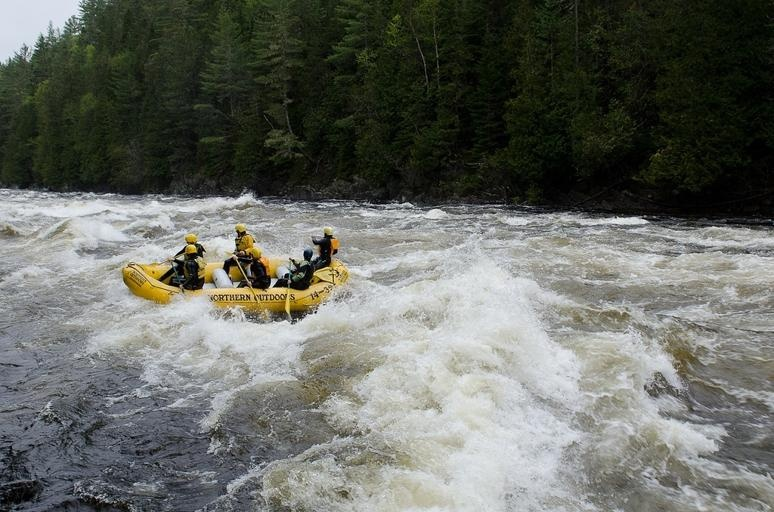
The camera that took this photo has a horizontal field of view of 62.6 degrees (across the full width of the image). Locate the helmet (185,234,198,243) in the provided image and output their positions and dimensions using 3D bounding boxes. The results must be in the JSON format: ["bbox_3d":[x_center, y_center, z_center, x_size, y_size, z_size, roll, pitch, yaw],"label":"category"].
[{"bbox_3d":[-6.202,-0.540,20.249,0.383,0.302,0.294,7,6,-37],"label":"helmet"}]

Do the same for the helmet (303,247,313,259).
[{"bbox_3d":[-2.467,-0.046,20.462,0.299,0.361,0.374,7,-17,-20],"label":"helmet"}]

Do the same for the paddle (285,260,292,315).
[{"bbox_3d":[-3.066,1.315,19.762,0.155,1.005,0.827,2,14,-9],"label":"paddle"}]

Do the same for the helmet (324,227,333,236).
[{"bbox_3d":[-1.935,-0.825,21.517,0.317,0.241,0.253,10,5,33],"label":"helmet"}]
